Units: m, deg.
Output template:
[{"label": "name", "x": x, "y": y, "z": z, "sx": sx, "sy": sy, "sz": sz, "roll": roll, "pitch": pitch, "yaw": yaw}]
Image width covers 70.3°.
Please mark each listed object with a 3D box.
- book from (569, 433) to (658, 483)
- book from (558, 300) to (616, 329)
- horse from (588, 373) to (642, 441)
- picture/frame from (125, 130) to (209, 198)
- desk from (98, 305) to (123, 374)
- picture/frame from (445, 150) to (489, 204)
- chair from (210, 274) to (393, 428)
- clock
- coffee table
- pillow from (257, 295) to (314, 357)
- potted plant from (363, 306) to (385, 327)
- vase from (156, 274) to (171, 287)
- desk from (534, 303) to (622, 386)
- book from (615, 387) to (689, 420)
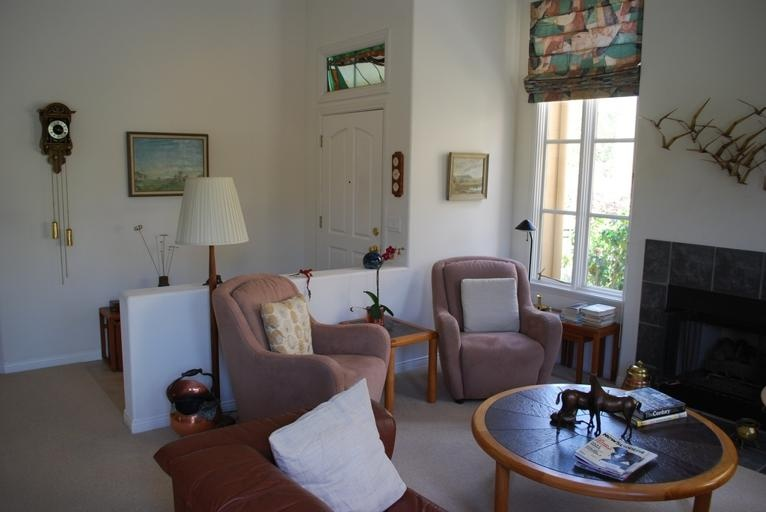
[{"label": "book", "x": 1.422, "y": 1.230, "z": 3.350, "sx": 0.260, "sy": 0.065, "sz": 0.274, "roll": 13, "pitch": 22, "yaw": 42}, {"label": "book", "x": 2.063, "y": 0.576, "z": 5.451, "sx": 0.485, "sy": 0.176, "sz": 0.323, "roll": 5, "pitch": 9, "yaw": 37}, {"label": "horse", "x": 1.504, "y": 1.016, "z": 3.633, "sx": 0.476, "sy": 0.355, "sz": 0.113, "roll": 12, "pitch": -9, "yaw": -12}, {"label": "picture/frame", "x": -2.267, "y": -0.946, "z": 5.608, "sx": 0.868, "sy": 0.727, "sz": 0.039, "roll": -8, "pitch": 16, "yaw": -31}, {"label": "desk", "x": -2.750, "y": 0.797, "z": 5.527, "sx": 0.177, "sy": 0.681, "sz": 0.509, "roll": -5, "pitch": 9, "yaw": -32}, {"label": "picture/frame", "x": 0.917, "y": -0.838, "z": 5.760, "sx": 0.047, "sy": 0.487, "sz": 0.534, "roll": -6, "pitch": 12, "yaw": -41}, {"label": "chair", "x": -0.599, "y": 0.657, "z": 4.733, "sx": 1.326, "sy": 1.458, "sz": 1.072, "roll": 1, "pitch": 5, "yaw": 28}, {"label": "clock", "x": -3.184, "y": -0.601, "z": 5.399, "sx": 0.280, "sy": 1.775, "sz": 0.118, "roll": -5, "pitch": 9, "yaw": -32}, {"label": "coffee table", "x": 1.432, "y": 1.224, "z": 3.575, "sx": 1.656, "sy": 0.294, "sz": 0.868, "roll": 1, "pitch": 7, "yaw": 11}, {"label": "pillow", "x": -0.791, "y": 0.569, "z": 4.327, "sx": 0.136, "sy": 0.422, "sz": 0.453, "roll": -16, "pitch": -8, "yaw": 32}, {"label": "potted plant", "x": -0.071, "y": 0.540, "z": 5.044, "sx": 0.179, "sy": 0.202, "sz": 0.177, "roll": -6, "pitch": 11, "yaw": -38}, {"label": "vase", "x": -2.320, "y": 0.264, "z": 5.751, "sx": 0.103, "sy": 0.164, "sz": 0.090, "roll": -1, "pitch": 16, "yaw": -20}, {"label": "desk", "x": 1.900, "y": 0.852, "z": 5.245, "sx": 0.358, "sy": 0.577, "sz": 0.686, "roll": -7, "pitch": 11, "yaw": -29}, {"label": "book", "x": 1.916, "y": 1.039, "z": 3.804, "sx": 0.283, "sy": 0.069, "sz": 0.286, "roll": -1, "pitch": 7, "yaw": -17}]
